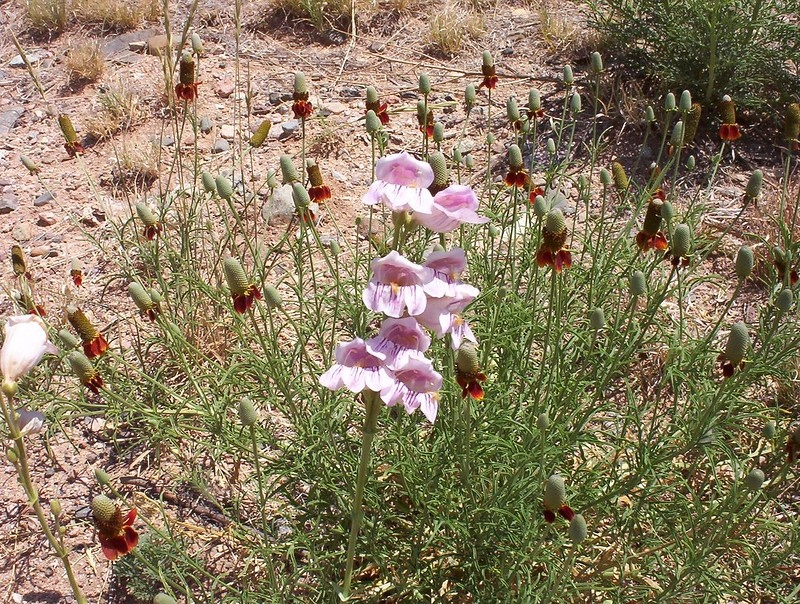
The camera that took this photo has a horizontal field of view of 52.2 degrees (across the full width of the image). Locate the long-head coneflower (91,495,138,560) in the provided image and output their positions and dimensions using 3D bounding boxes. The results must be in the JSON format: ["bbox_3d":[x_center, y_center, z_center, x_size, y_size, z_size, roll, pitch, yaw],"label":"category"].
[{"bbox_3d":[-1.225,0.983,3.544,0.145,0.376,0.173,28,42,36],"label":"long-head coneflower"}]

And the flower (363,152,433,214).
[{"bbox_3d":[-0.010,-0.476,3.434,0.293,0.281,0.172,1,33,0],"label":"flower"}]

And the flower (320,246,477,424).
[{"bbox_3d":[0.028,0.151,3.326,0.711,0.673,0.400,-25,41,-33],"label":"flower"}]
